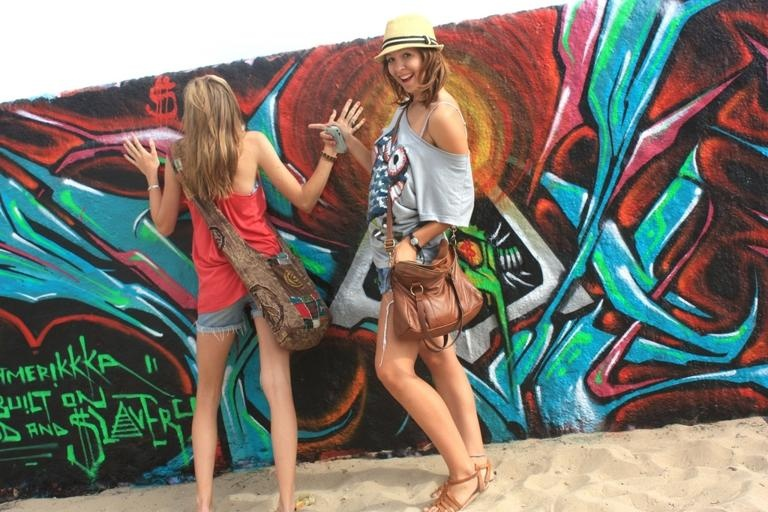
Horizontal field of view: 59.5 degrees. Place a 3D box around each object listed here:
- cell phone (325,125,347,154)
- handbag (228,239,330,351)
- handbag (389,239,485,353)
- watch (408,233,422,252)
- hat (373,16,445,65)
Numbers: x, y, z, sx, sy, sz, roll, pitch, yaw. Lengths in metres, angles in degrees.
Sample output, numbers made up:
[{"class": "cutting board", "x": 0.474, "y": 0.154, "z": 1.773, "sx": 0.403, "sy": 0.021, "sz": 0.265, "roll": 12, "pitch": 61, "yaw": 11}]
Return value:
[{"class": "cell phone", "x": -0.351, "y": -0.892, "z": 5.096, "sx": 0.125, "sy": 0.232, "sz": 0.058, "roll": -11, "pitch": 6, "yaw": -6}, {"class": "handbag", "x": -0.789, "y": 0.251, "z": 4.877, "sx": 0.510, "sy": 0.937, "sz": 0.280, "roll": -20, "pitch": -8, "yaw": -39}, {"class": "handbag", "x": 0.348, "y": 0.256, "z": 4.713, "sx": 0.649, "sy": 0.693, "sz": 0.400, "roll": -18, "pitch": 7, "yaw": -30}, {"class": "watch", "x": 0.214, "y": -0.084, "z": 4.656, "sx": 0.071, "sy": 0.118, "sz": 0.114, "roll": -41, "pitch": -24, "yaw": 5}, {"class": "hat", "x": 0.150, "y": -1.503, "z": 4.562, "sx": 0.449, "sy": 0.252, "sz": 0.329, "roll": -9, "pitch": 12, "yaw": 1}]
